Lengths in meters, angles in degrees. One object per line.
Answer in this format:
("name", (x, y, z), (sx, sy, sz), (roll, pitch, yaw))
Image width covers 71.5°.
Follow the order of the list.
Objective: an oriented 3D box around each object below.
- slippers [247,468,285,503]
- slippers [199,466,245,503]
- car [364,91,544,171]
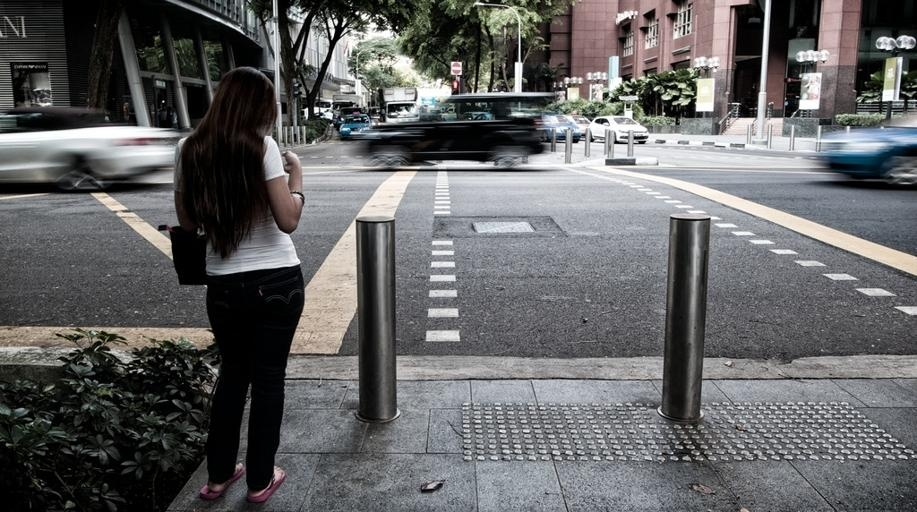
("slippers", (-1.365, 1.640, 4.537), (0.140, 0.096, 0.262), (11, 31, 18))
("slippers", (-1.700, 1.638, 4.577), (0.121, 0.084, 0.301), (19, 29, 26))
("car", (-0.051, -4.275, 22.037), (5.355, 1.889, 2.608), (1, 6, -1))
